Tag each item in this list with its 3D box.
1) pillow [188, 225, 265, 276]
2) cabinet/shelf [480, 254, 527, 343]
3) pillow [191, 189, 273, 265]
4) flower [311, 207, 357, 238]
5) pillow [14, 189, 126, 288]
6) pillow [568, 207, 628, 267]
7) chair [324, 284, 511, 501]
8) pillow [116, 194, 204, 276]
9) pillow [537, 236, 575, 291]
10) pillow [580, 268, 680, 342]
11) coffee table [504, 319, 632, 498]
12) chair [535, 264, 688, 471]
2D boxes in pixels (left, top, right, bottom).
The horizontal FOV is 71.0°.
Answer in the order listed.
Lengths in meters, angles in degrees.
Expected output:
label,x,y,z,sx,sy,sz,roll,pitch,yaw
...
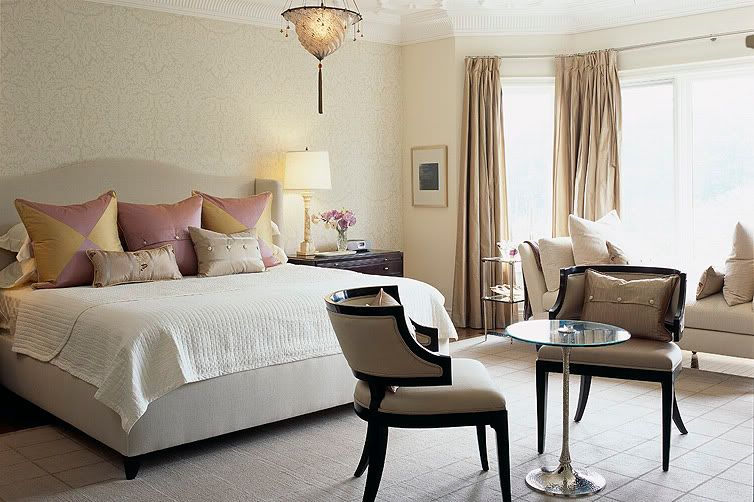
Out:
label,x,y,z,sx,sy,sz,roll,pitch,yaw
pillow,-1.391,0.009,4.777,0.505,0.175,0.325,0,44,-34
cabinet/shelf,1.382,0.521,5.916,0.389,1.001,1.012,1,0,25
pillow,-1.399,-0.206,5.237,0.789,0.769,0.304,-3,6,-35
flower,-0.508,-0.356,6.267,0.386,0.265,0.387,-4,5,8
pillow,-2.538,-0.070,4.347,0.342,0.632,0.771,-2,8,44
pillow,2.135,-0.109,5.173,0.558,0.525,0.164,-2,-13,-38
chair,0.226,0.777,3.437,1.180,1.277,1.057,-2,1,-4
pillow,-1.907,-0.113,4.650,0.665,0.703,0.348,-2,-27,-40
pillow,1.684,0.126,4.987,0.177,0.334,0.499,9,12,39
pillow,1.746,0.388,3.640,0.509,0.381,0.185,4,-2,36
coffee table,1.029,0.920,3.508,0.921,1.026,0.895,-1,5,8
chair,1.697,0.753,3.730,0.865,1.194,0.822,-1,2,41
